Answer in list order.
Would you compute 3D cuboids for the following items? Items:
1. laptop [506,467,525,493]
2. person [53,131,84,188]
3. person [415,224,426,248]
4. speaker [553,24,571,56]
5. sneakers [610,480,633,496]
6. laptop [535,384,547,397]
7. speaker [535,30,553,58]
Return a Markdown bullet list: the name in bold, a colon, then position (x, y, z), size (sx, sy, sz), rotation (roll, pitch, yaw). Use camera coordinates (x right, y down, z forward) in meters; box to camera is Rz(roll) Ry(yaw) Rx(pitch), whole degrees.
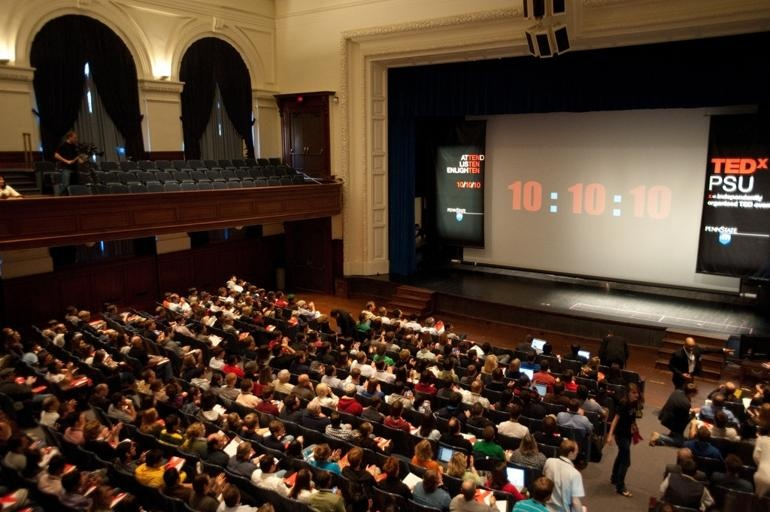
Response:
- **laptop**: position (1.893, 3.228, 7.385), size (0.296, 0.401, 0.042), rotation (-1, -2, 20)
- **person**: position (-8.117, -2.481, 13.214), size (0.605, 1.433, 0.890), rotation (-4, 12, -33)
- **person**: position (1.330, -0.740, 19.433), size (0.492, 0.937, 0.190), rotation (-5, 13, -37)
- **speaker**: position (4.313, -5.303, 12.512), size (0.299, 0.547, 0.590), rotation (8, 11, 25)
- **sneakers**: position (3.987, 3.925, 8.690), size (0.129, 0.158, 0.387), rotation (-5, 0, -17)
- **laptop**: position (2.912, 2.503, 9.531), size (0.163, 0.230, 0.123), rotation (2, 14, 23)
- **speaker**: position (3.917, -5.220, 12.651), size (0.332, 0.416, 0.538), rotation (9, 12, 29)
